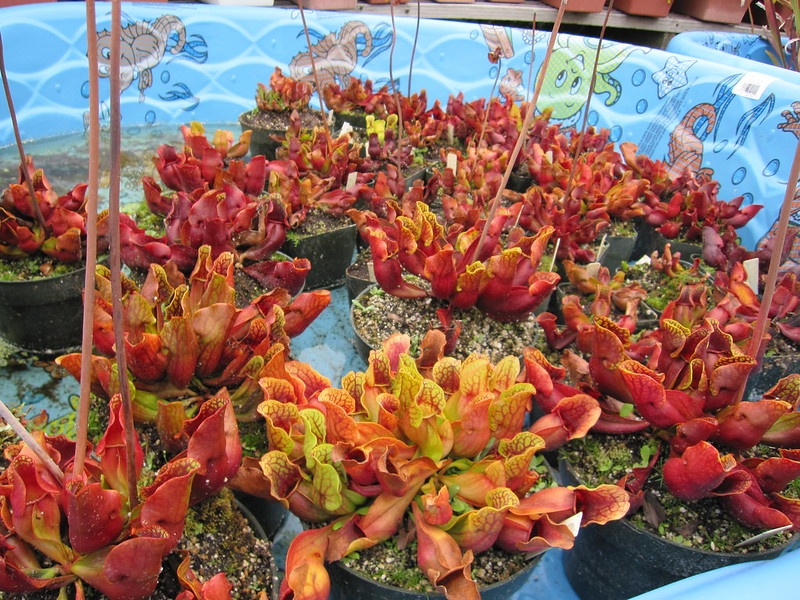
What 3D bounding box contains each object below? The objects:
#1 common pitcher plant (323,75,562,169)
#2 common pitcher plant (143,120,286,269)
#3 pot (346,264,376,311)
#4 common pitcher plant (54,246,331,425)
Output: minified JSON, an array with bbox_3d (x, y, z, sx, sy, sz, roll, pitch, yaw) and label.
[{"bbox_3d":[0.229,-0.968,3.291,1.215,0.488,0.754,20,9,20],"label":"common pitcher plant"},{"bbox_3d":[-0.625,-0.386,2.088,0.488,0.319,0.560,4,43,-18],"label":"common pitcher plant"},{"bbox_3d":[-0.141,-0.055,2.243,0.134,0.162,0.114,5,35,-1],"label":"pot"},{"bbox_3d":[-0.496,0.159,1.583,0.526,0.303,0.528,11,36,13],"label":"common pitcher plant"}]
